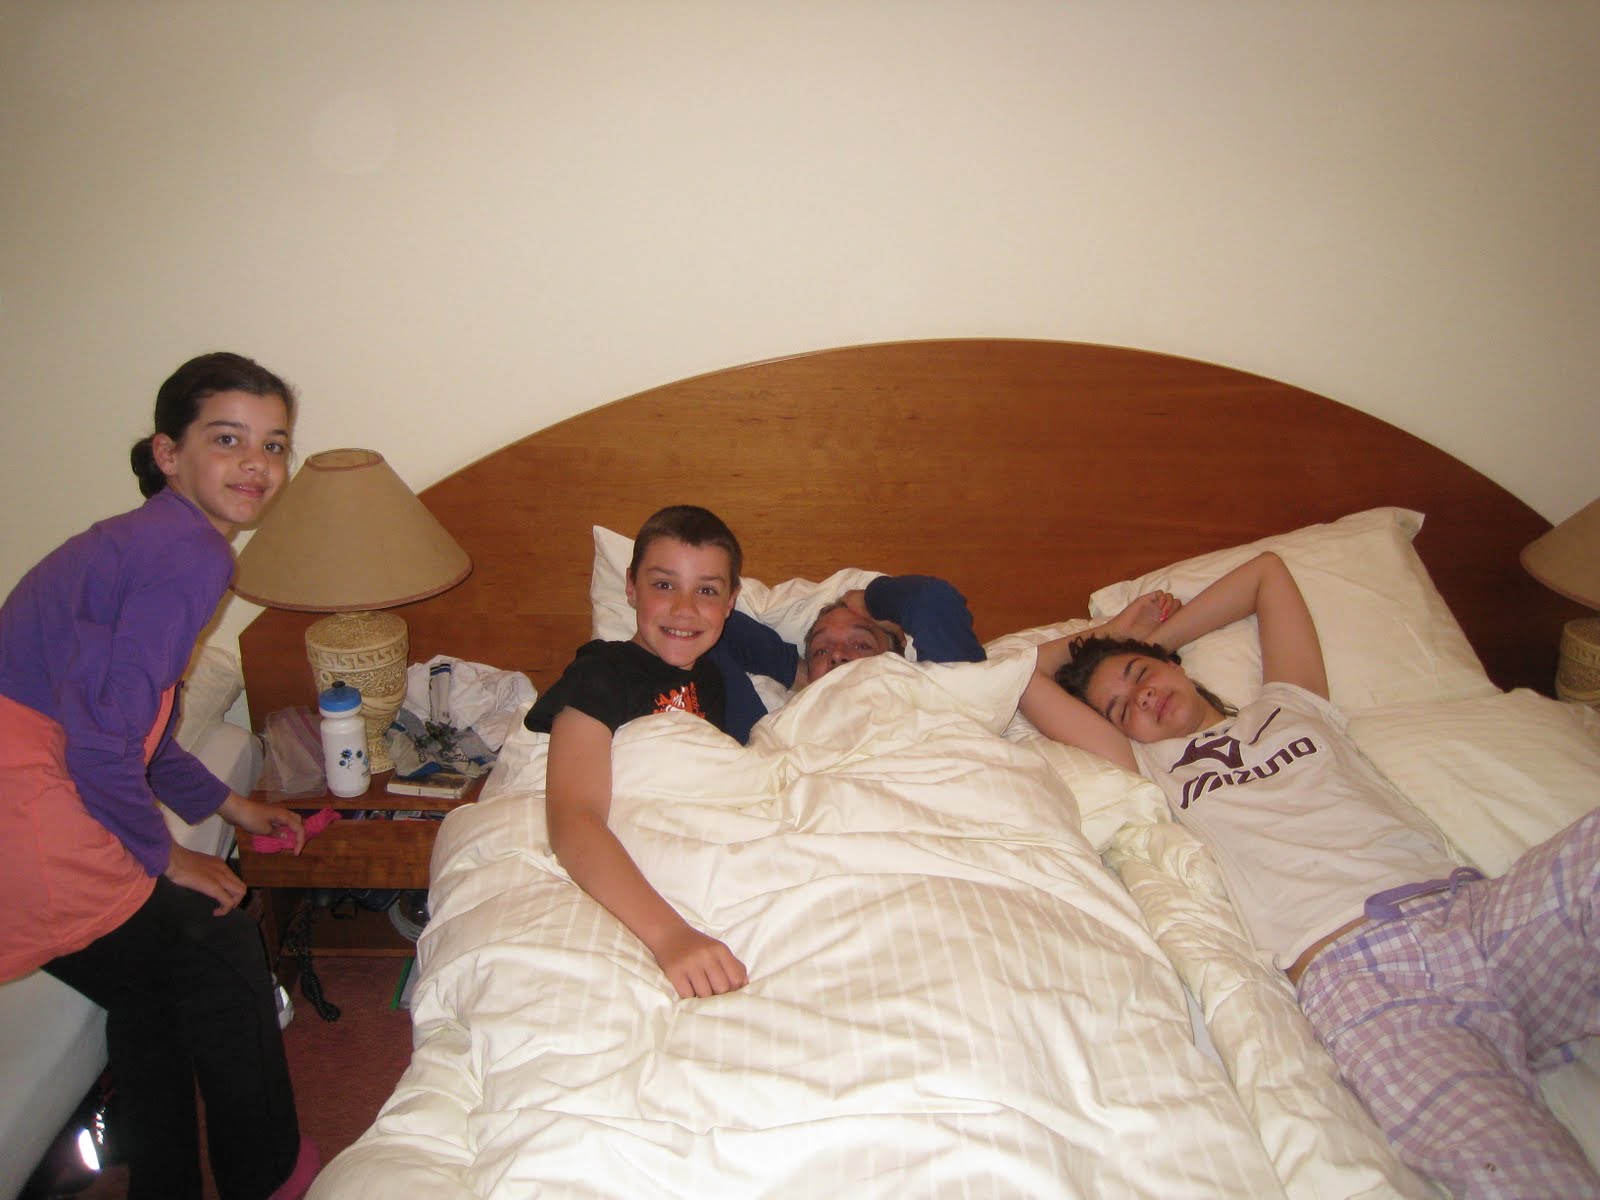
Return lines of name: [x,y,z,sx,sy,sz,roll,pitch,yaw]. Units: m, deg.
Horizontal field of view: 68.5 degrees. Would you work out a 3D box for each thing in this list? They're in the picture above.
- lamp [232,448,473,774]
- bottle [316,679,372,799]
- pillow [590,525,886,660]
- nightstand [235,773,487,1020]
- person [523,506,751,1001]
lamp: [-0.948,-0.027,2.783,0.564,0.825,0.580,-11,22,-29]
bottle: [-1.002,0.301,2.599,0.096,0.242,0.137,-4,14,-21]
pillow: [-0.146,-0.050,2.685,0.368,0.136,0.440,18,49,9]
nightstand: [-0.935,0.650,2.811,0.607,0.586,0.482,3,44,-11]
person: [-0.250,0.253,2.302,0.466,0.331,1.044,-12,46,11]
